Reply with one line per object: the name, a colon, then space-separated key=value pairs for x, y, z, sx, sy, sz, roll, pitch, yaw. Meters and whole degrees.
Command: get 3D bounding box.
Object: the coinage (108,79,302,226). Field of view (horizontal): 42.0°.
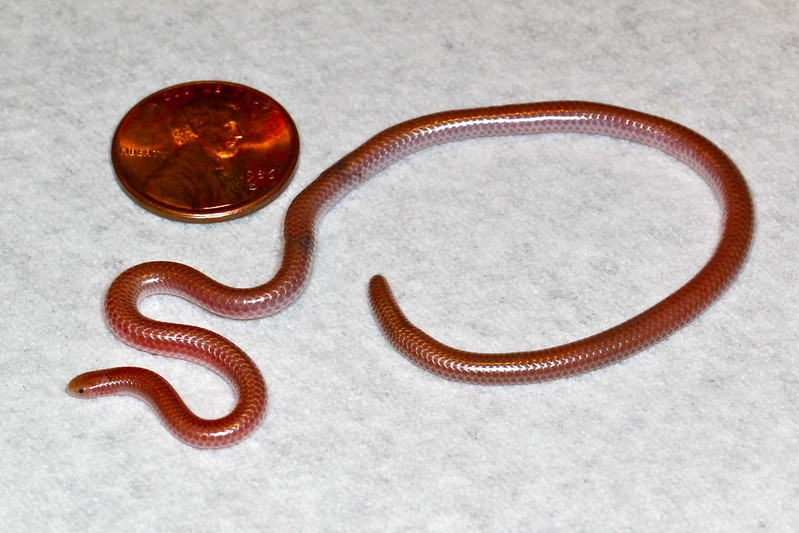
coinage: x=-0.929 y=-0.515 z=4.947 sx=0.783 sy=0.145 sz=0.527 roll=-23 pitch=50 yaw=-16
